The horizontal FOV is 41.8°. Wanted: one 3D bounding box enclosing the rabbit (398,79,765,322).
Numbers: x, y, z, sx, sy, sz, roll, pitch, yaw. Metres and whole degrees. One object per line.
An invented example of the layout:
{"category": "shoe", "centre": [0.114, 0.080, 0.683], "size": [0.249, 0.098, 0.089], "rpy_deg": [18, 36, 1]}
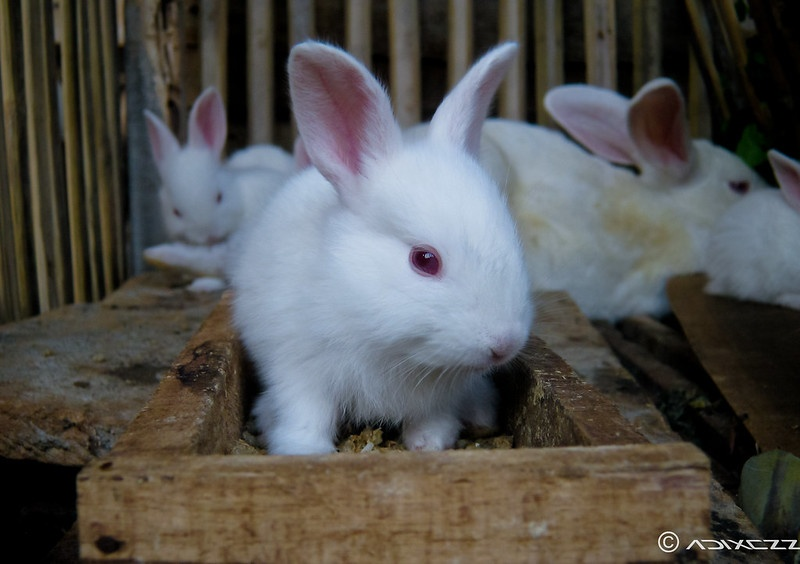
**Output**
{"category": "rabbit", "centre": [0.592, -0.337, 3.128], "size": [0.824, 0.725, 0.555], "rpy_deg": [18, 18, 14]}

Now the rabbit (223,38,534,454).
{"category": "rabbit", "centre": [-0.135, -0.091, 2.865], "size": [0.693, 1.129, 1.156], "rpy_deg": [-1, 11, -33]}

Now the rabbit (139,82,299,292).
{"category": "rabbit", "centre": [-0.596, -0.361, 3.089], "size": [0.302, 0.513, 0.546], "rpy_deg": [-6, 28, -2]}
